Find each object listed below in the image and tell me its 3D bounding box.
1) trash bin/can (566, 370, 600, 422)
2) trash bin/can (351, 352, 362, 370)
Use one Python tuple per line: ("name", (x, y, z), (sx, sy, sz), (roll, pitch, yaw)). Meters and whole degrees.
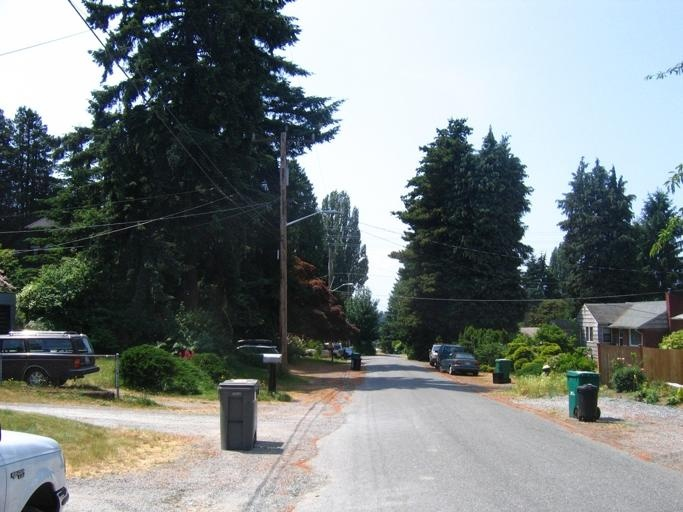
("trash bin/can", (8.828, 5.078, 26.388), (1.001, 1.786, 1.169), (4, -10, 4))
("trash bin/can", (1.109, 7.429, 51.161), (0.851, 1.492, 0.951), (-1, 1, -11))
